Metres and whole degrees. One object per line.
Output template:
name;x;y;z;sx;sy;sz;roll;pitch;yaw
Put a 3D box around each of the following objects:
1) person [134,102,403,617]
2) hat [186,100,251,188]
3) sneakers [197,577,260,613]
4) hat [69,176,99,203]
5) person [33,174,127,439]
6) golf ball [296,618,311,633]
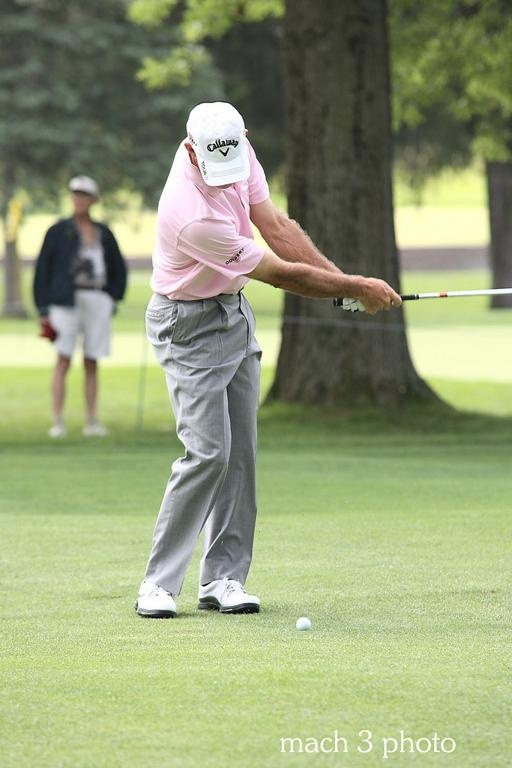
person;-0.038;-0.041;2.674;0.406;1.281;0.498;-1;2;43
hat;-0.087;-0.557;2.449;0.152;0.204;0.092;-10;-17;-7
sneakers;-0.073;0.557;2.701;0.074;0.059;0.170;7;-7;-42
hat;-0.993;-1.106;5.861;0.189;0.118;0.231;12;1;3
person;-0.976;-0.431;5.701;0.412;1.465;0.793;-2;2;7
golf ball;0.112;0.573;2.446;0.028;0.024;0.031;17;-11;3
